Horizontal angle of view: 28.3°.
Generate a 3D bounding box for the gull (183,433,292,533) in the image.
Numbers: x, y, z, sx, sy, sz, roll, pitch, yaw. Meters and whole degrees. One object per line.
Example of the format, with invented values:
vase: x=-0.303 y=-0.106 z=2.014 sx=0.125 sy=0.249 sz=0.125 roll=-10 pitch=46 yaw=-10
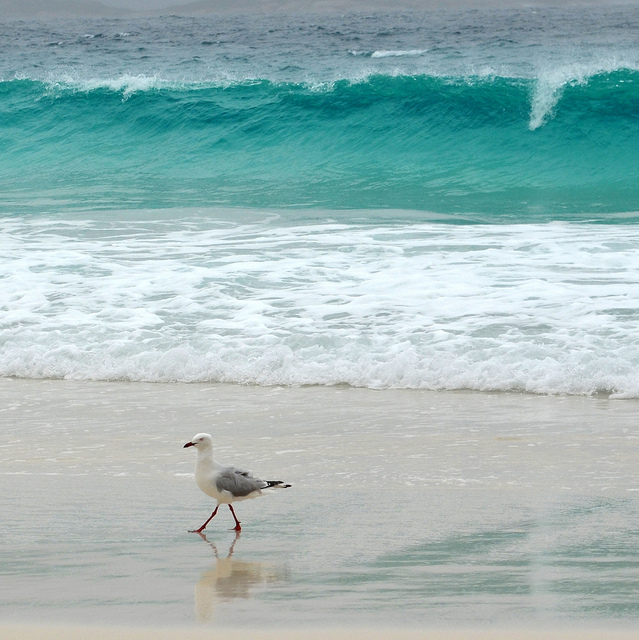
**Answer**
gull: x=-0.414 y=1.156 z=9.678 sx=1.566 sy=0.708 sz=0.401 roll=2 pitch=-3 yaw=-6
